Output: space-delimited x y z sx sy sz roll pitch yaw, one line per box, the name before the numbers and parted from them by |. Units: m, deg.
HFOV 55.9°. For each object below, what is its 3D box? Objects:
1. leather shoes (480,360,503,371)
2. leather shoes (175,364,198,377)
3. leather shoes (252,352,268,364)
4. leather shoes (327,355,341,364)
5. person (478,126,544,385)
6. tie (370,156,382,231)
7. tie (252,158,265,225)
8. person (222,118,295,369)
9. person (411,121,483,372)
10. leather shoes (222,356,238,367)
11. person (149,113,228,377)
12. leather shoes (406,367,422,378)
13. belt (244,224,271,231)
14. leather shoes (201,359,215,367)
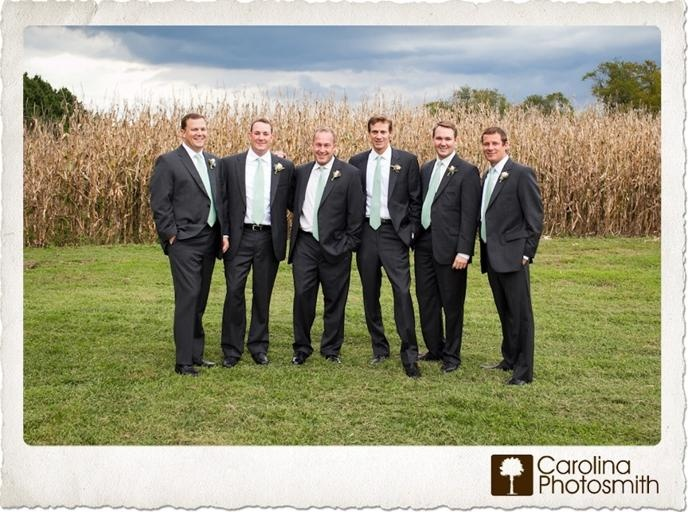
leather shoes | 1.640 1.224 7.166 0.270 0.100 0.118 4 -15 6
leather shoes | -1.692 1.219 6.905 0.246 0.115 0.100 1 2 21
leather shoes | -0.948 1.156 7.262 0.080 0.097 0.218 2 -4 -31
leather shoes | -0.117 1.174 7.315 0.191 0.087 0.066 -1 0 45
person | 1.743 -0.007 6.826 0.645 2.647 0.447 2 6 18
tie | 0.349 -0.687 7.119 0.125 0.800 0.105 0 5 1
tie | -0.948 -0.705 7.192 0.118 0.726 0.138 1 6 13
person | -0.985 -0.152 7.241 0.821 2.703 0.452 -1 6 -9
person | 1.103 -0.096 7.101 0.679 2.681 0.440 4 7 39
leather shoes | -1.266 1.171 7.150 0.152 0.165 0.079 -20 40 -26
person | -1.658 -0.136 7.010 0.810 2.758 0.523 -3 6 -27
leather shoes | 0.761 1.239 6.924 0.178 0.097 0.131 -2 6 -17
belt | -0.971 -0.309 7.212 0.280 0.083 0.066 -2 6 -18
leather shoes | -1.514 1.183 7.155 0.175 0.080 0.061 -3 2 37
